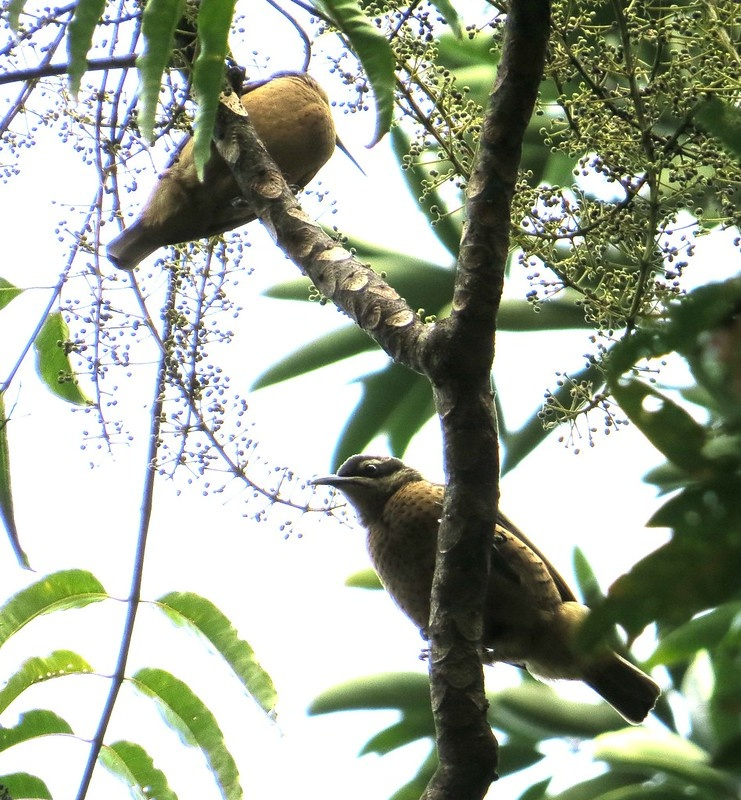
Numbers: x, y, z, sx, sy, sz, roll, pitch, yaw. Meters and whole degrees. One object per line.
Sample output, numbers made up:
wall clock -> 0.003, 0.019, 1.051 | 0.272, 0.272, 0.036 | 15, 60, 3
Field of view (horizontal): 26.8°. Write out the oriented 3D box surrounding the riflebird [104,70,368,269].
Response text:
riflebird -> -0.254, -0.384, 2.625 | 0.471, 0.280, 0.217 | -33, -66, 15
